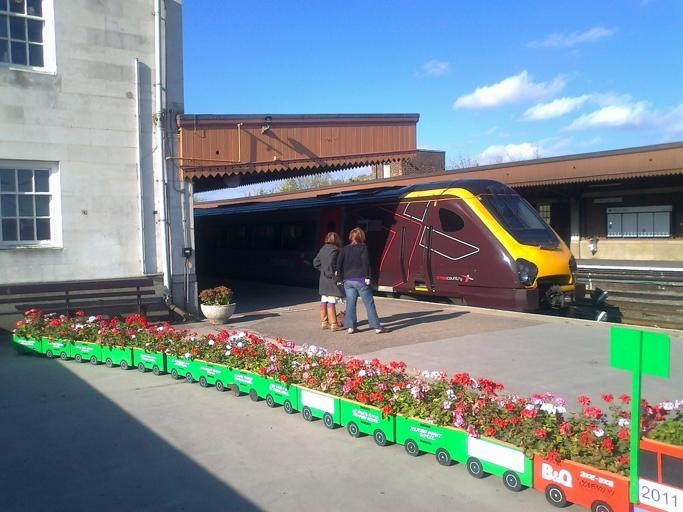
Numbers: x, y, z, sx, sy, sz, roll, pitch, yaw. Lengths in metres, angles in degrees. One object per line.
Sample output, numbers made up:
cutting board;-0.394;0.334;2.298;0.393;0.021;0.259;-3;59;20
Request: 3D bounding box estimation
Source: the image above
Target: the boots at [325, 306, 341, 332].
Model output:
boots;-0.188;1.283;11.060;0.282;0.577;0.526;2;6;39
